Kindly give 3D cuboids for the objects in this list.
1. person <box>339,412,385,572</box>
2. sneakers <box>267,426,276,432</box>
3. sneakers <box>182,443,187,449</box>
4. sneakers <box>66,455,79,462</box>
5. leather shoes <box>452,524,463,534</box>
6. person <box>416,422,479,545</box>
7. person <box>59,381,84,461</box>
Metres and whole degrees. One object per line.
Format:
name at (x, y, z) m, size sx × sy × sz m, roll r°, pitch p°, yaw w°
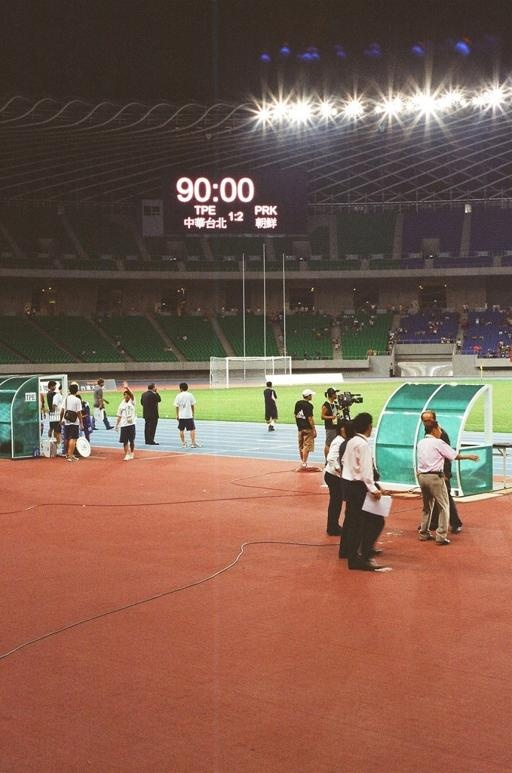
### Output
person at (1.121, 1.102, 7.173) m, size 0.460 × 1.667 × 0.570 m, roll -2°, pitch 0°, yaw 7°
sneakers at (0.510, 1.467, 23.478) m, size 0.166 × 0.213 × 0.219 m, roll 0°, pitch 8°, yaw 26°
sneakers at (-2.113, 1.722, 19.905) m, size 0.092 × 0.173 × 0.277 m, roll 0°, pitch 7°, yaw -8°
sneakers at (-4.692, 1.830, 17.224) m, size 0.126 × 0.149 × 0.348 m, roll 3°, pitch 2°, yaw 22°
leather shoes at (2.662, 1.861, 8.843) m, size 0.086 × 0.066 × 0.209 m, roll -24°, pitch -6°, yaw 29°
person at (2.313, 1.169, 8.526) m, size 0.490 × 1.571 × 0.912 m, roll -2°, pitch 0°, yaw 16°
person at (-4.667, 0.893, 16.910) m, size 0.557 × 1.918 × 0.464 m, roll 8°, pitch 13°, yaw 10°
